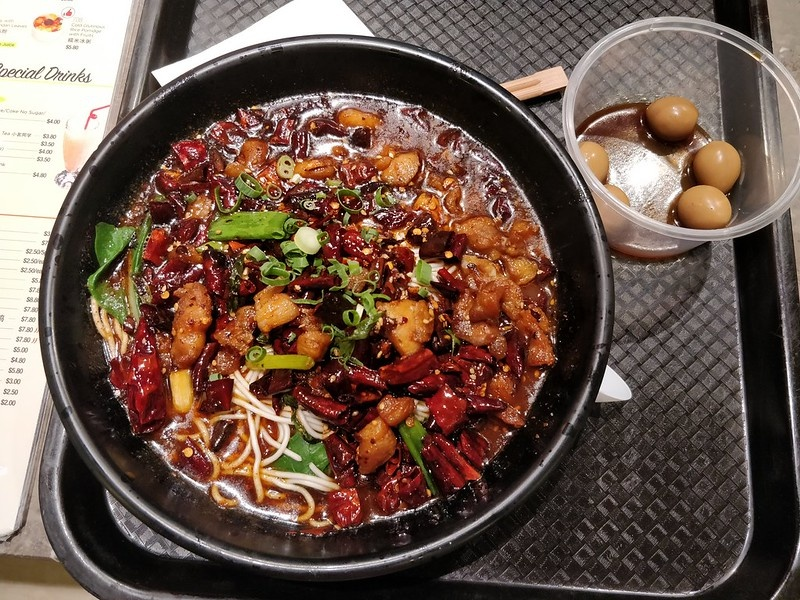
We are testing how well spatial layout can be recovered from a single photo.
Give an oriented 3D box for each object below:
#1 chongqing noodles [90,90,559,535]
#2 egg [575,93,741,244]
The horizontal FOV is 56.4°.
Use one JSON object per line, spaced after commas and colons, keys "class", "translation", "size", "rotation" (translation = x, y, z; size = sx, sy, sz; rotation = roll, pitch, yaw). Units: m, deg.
{"class": "chongqing noodles", "translation": [-0.376, 0.141, 3.599], "size": [1.731, 1.985, 0.672], "rotation": [4, -6, 0]}
{"class": "egg", "translation": [1.355, -0.737, 4.125], "size": [0.880, 0.694, 1.044], "rotation": [-4, 31, -9]}
